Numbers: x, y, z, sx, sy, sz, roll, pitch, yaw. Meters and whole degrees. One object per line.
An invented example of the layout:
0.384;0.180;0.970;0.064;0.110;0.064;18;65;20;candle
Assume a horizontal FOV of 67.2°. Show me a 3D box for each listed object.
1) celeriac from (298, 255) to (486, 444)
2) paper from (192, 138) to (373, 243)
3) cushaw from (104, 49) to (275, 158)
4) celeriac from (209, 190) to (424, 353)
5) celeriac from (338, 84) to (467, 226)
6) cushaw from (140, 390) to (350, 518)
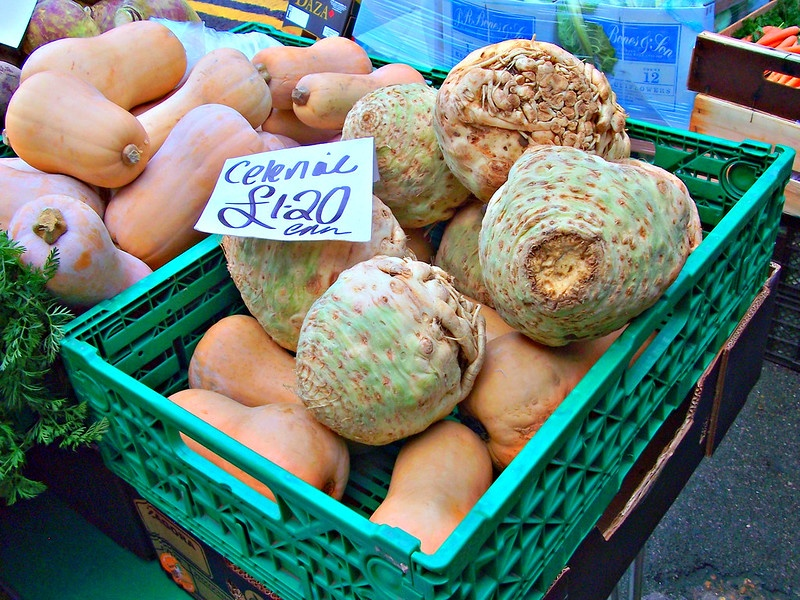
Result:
-0.012;0.121;1.250;0.371;0.315;0.304;-29;62;-17;celeriac
-0.256;-0.240;1.330;0.327;0.018;0.237;-7;50;18;paper
-0.595;-0.608;1.804;0.490;0.217;0.211;-35;27;-14;cushaw
-0.177;0.001;1.493;0.520;0.418;0.340;-11;57;47;celeriac
0.048;-0.412;1.625;0.318;0.354;0.302;-23;28;10;celeriac
-0.305;0.252;1.250;0.366;0.196;0.212;28;100;19;cushaw
